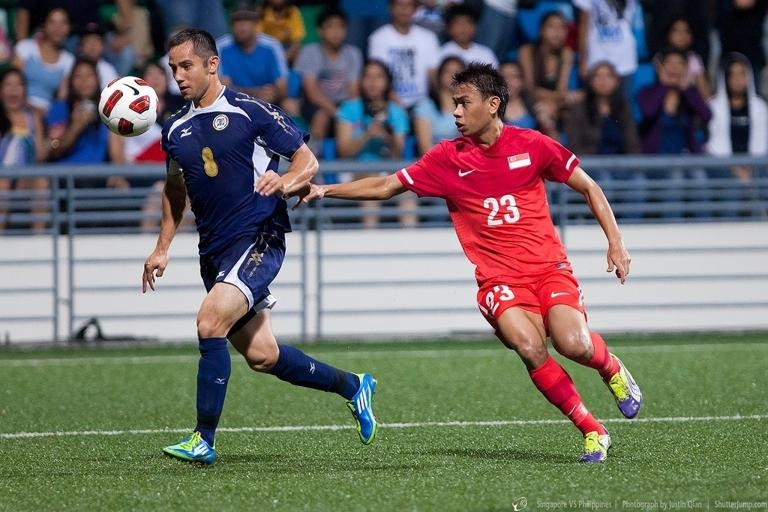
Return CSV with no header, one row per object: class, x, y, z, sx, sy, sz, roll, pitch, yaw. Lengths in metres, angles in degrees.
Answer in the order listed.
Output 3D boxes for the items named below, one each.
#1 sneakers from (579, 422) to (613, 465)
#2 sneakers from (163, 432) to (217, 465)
sneakers,1.672,1.527,10.443,0.138,0.160,0.367,-9,7,25
sneakers,-1.552,1.564,10.594,0.407,0.240,0.215,12,-8,-14
